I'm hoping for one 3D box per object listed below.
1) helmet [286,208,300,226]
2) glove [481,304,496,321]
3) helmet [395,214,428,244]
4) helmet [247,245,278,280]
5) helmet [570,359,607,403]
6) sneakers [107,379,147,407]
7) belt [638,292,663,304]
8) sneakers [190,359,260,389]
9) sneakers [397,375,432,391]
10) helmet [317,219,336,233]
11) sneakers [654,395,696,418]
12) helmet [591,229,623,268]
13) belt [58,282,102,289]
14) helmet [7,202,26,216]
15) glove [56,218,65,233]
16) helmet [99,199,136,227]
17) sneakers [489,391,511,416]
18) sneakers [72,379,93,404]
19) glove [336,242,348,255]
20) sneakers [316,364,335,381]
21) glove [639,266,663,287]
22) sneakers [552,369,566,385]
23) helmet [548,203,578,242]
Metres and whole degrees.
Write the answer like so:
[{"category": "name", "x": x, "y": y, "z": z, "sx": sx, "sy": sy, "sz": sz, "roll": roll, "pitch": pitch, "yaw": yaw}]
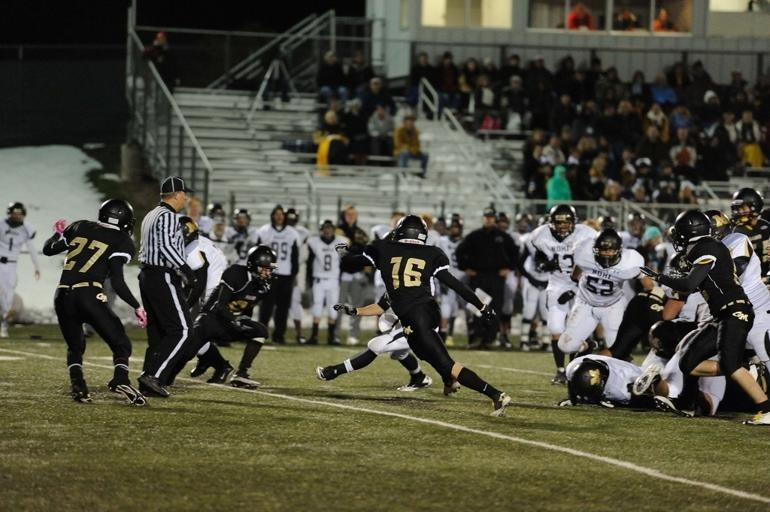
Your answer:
[{"category": "helmet", "x": -1.518, "y": -0.623, "z": 19.909, "sx": 0.181, "sy": 0.294, "sz": 0.284, "roll": 2, "pitch": 3, "yaw": -6}, {"category": "glove", "x": 1.187, "y": 0.647, "z": 13.771, "sx": 0.193, "sy": 0.177, "sz": 0.246, "roll": 2, "pitch": -5, "yaw": 4}, {"category": "helmet", "x": 0.313, "y": -0.304, "z": 14.237, "sx": 0.301, "sy": 0.297, "sz": 0.371, "roll": 13, "pitch": 15, "yaw": -7}, {"category": "helmet", "x": -1.531, "y": 0.072, "z": 15.099, "sx": 0.433, "sy": 0.403, "sz": 0.345, "roll": 8, "pitch": 3, "yaw": 32}, {"category": "helmet", "x": 2.384, "y": 1.447, "z": 14.220, "sx": 0.372, "sy": 0.501, "sz": 0.465, "roll": 28, "pitch": 8, "yaw": 29}, {"category": "sneakers", "x": -2.917, "y": 1.556, "z": 13.704, "sx": 0.471, "sy": 0.251, "sz": 0.255, "roll": 3, "pitch": 3, "yaw": 16}, {"category": "belt", "x": 3.432, "y": 0.535, "z": 15.578, "sx": 0.217, "sy": 0.076, "sz": 0.164, "roll": 7, "pitch": 2, "yaw": 24}, {"category": "sneakers", "x": -2.002, "y": 1.494, "z": 15.186, "sx": 0.652, "sy": 0.268, "sz": 0.196, "roll": 17, "pitch": 2, "yaw": 12}, {"category": "sneakers", "x": 0.394, "y": 1.582, "z": 15.191, "sx": 0.487, "sy": 0.210, "sz": 0.160, "roll": -4, "pitch": 5, "yaw": -9}, {"category": "helmet", "x": -0.916, "y": -0.485, "z": 19.940, "sx": 0.170, "sy": 0.199, "sz": 0.217, "roll": 2, "pitch": 16, "yaw": 1}, {"category": "sneakers", "x": 3.389, "y": 1.741, "z": 14.122, "sx": 0.483, "sy": 0.225, "sz": 0.274, "roll": 3, "pitch": 3, "yaw": 15}, {"category": "helmet", "x": 2.824, "y": -0.097, "z": 15.289, "sx": 0.375, "sy": 0.498, "sz": 0.307, "roll": 3, "pitch": 3, "yaw": 7}, {"category": "belt", "x": -3.447, "y": 0.332, "z": 13.724, "sx": 0.468, "sy": 0.076, "sz": 0.117, "roll": 2, "pitch": 3, "yaw": -11}, {"category": "helmet", "x": -5.958, "y": -0.736, "z": 19.622, "sx": 0.257, "sy": 0.239, "sz": 0.322, "roll": 1, "pitch": 3, "yaw": -19}, {"category": "glove", "x": -3.807, "y": -0.353, "z": 14.224, "sx": 0.099, "sy": 0.152, "sz": 0.037, "roll": 22, "pitch": -26, "yaw": -31}, {"category": "helmet", "x": -3.052, "y": -0.500, "z": 13.984, "sx": 0.300, "sy": 0.311, "sz": 0.374, "roll": 21, "pitch": 15, "yaw": 15}, {"category": "sneakers", "x": 1.297, "y": 1.689, "z": 13.707, "sx": 0.165, "sy": 0.149, "sz": 0.349, "roll": 31, "pitch": -20, "yaw": 9}, {"category": "sneakers", "x": -3.431, "y": 1.554, "z": 13.697, "sx": 0.167, "sy": 0.262, "sz": 0.270, "roll": 1, "pitch": -5, "yaw": -35}, {"category": "glove", "x": -0.520, "y": -0.093, "z": 14.437, "sx": 0.170, "sy": 0.140, "sz": 0.160, "roll": -8, "pitch": -2, "yaw": 22}, {"category": "sneakers", "x": -0.732, "y": 1.429, "z": 14.821, "sx": 0.164, "sy": 0.162, "sz": 0.282, "roll": 0, "pitch": 3, "yaw": -39}, {"category": "glove", "x": 3.106, "y": 0.215, "z": 14.150, "sx": 0.231, "sy": 0.171, "sz": 0.687, "roll": 3, "pitch": 3, "yaw": 12}, {"category": "sneakers", "x": 2.291, "y": 1.578, "z": 15.959, "sx": 0.183, "sy": 0.196, "sz": 0.295, "roll": 3, "pitch": 3, "yaw": 5}, {"category": "helmet", "x": 2.454, "y": -0.454, "z": 16.688, "sx": 0.362, "sy": 0.509, "sz": 0.369, "roll": 3, "pitch": 3, "yaw": 7}]
